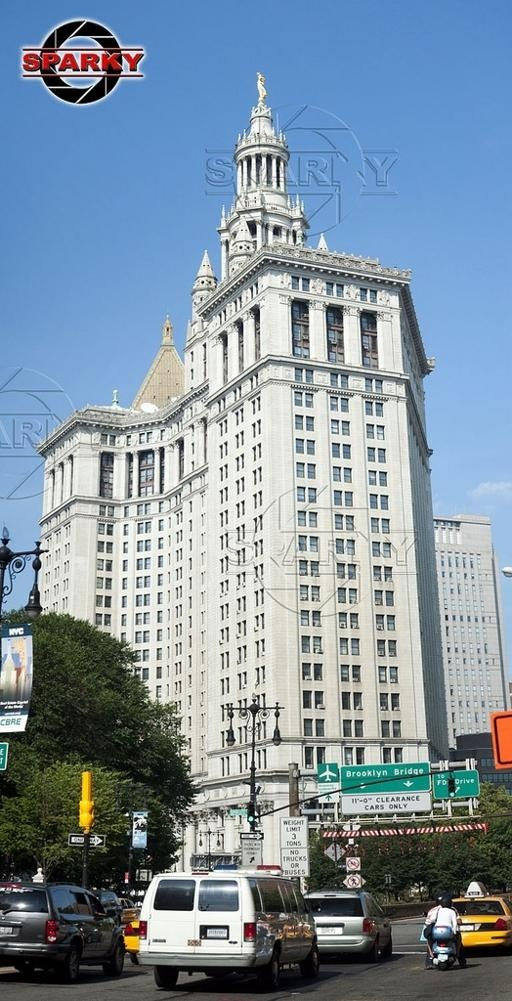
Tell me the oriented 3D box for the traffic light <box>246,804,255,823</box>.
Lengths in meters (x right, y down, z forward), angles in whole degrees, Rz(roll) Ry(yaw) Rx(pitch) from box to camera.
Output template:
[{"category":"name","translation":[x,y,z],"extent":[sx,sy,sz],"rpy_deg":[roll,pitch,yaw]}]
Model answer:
[{"category":"traffic light","translation":[-0.194,12.445,45.884],"extent":[0.238,0.718,0.371],"rpy_deg":[-3,-17,1]}]

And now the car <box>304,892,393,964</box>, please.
[{"category":"car","translation":[2.114,9.385,25.617],"extent":[1.187,1.065,2.693],"rpy_deg":[-2,-15,7]}]

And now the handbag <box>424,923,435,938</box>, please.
[{"category":"handbag","translation":[3.418,8.459,22.529],"extent":[0.074,0.299,0.216],"rpy_deg":[20,-55,3]}]

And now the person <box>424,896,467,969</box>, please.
[{"category":"person","translation":[3.731,8.680,22.721],"extent":[0.828,1.165,1.888],"rpy_deg":[-3,-18,8]}]

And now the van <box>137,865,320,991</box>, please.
[{"category":"van","translation":[-0.271,7.129,19.300],"extent":[1.700,1.398,3.431],"rpy_deg":[-7,-20,16]}]

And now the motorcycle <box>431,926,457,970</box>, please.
[{"category":"motorcycle","translation":[3.592,8.570,22.055],"extent":[0.441,0.725,0.413],"rpy_deg":[-4,-17,3]}]
